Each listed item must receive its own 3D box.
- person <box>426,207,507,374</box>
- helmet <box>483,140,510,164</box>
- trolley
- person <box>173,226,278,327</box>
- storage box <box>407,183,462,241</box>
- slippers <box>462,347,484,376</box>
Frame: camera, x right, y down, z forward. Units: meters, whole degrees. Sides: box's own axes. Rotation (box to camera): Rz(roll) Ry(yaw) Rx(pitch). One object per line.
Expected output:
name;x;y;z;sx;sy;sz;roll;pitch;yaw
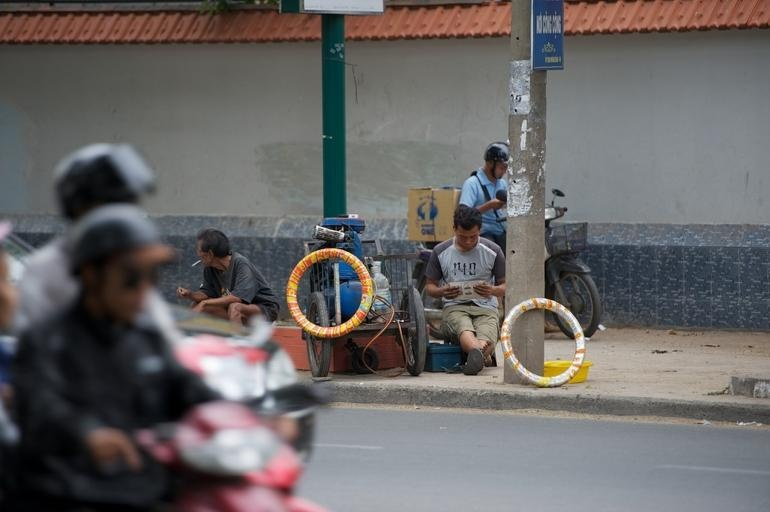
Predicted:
person;0.909;0.359;13.562;0.876;1.844;0.868;2;6;7
helmet;1.404;-1.321;15.226;0.322;0.348;0.313;5;6;17
trolley;-0.388;0.477;13.713;1.202;1.842;2.148;-2;0;-18
person;-1.698;0.483;13.330;0.961;1.558;0.924;-3;2;6
storage box;0.414;-0.579;16.149;0.779;0.680;0.832;1;3;-9
slippers;0.972;1.173;13.224;0.151;0.363;0.145;10;14;10
